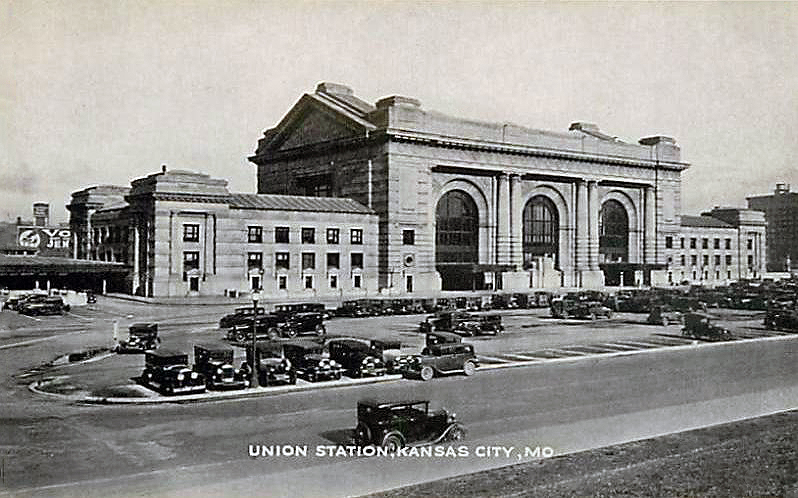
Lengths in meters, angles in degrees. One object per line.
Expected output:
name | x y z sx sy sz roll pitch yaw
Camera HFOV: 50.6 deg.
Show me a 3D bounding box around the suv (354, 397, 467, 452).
suv | 0.385 9.282 44.871 4.597 1.912 2.730 -1 -1 -27
